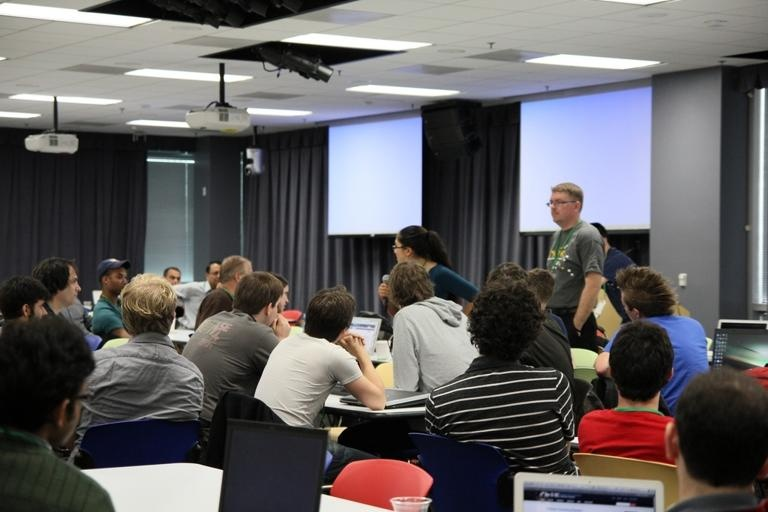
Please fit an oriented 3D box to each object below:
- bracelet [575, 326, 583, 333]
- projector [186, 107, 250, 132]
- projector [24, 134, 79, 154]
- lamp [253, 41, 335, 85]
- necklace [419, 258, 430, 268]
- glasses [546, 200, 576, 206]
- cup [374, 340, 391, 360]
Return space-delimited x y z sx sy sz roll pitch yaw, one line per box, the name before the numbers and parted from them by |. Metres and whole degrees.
bracelet | 1.632 0.626 5.385 0.036 0.036 0.037 5 -6 -29
projector | -1.863 -1.541 7.200 0.466 0.189 0.370 0 1 -22
projector | -4.802 -1.647 9.325 0.739 0.339 0.466 1 0 -36
lamp | -0.939 -2.023 6.639 0.823 0.295 0.229 10 19 -31
necklace | 0.324 0.052 5.201 0.078 0.068 0.063 -5 -10 37
glasses | 1.501 -0.462 5.461 0.207 0.056 0.095 0 4 44
cup | -0.012 0.834 5.597 0.154 0.123 0.143 0 -4 0
